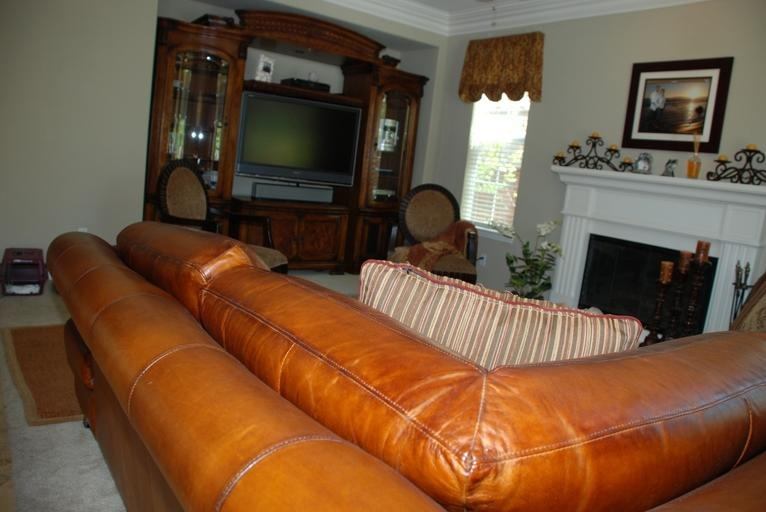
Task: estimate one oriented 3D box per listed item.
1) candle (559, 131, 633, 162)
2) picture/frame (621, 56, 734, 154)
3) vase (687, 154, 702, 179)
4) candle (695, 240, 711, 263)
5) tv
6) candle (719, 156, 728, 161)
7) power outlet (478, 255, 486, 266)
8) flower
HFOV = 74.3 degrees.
[{"bbox_3d":[1.799,-0.897,4.320,0.691,0.295,0.265,16,16,42],"label":"candle"},{"bbox_3d":[2.312,-1.166,3.888,0.059,0.843,0.800,0,5,-39],"label":"picture/frame"},{"bbox_3d":[2.311,-0.661,3.738,0.096,0.180,0.287,12,13,30],"label":"vase"},{"bbox_3d":[2.184,-0.035,3.433,0.103,0.161,0.045,5,2,6],"label":"candle"},{"bbox_3d":[-0.919,-1.204,5.370,1.261,0.876,0.128,6,12,-25],"label":"tv"},{"bbox_3d":[2.421,-0.692,3.575,0.048,0.043,0.074,11,13,26],"label":"candle"},{"bbox_3d":[1.033,0.042,5.345,0.027,0.104,0.107,11,-1,-7],"label":"power outlet"},{"bbox_3d":[1.315,0.009,4.518,0.565,0.945,0.427,8,21,24],"label":"flower"}]
